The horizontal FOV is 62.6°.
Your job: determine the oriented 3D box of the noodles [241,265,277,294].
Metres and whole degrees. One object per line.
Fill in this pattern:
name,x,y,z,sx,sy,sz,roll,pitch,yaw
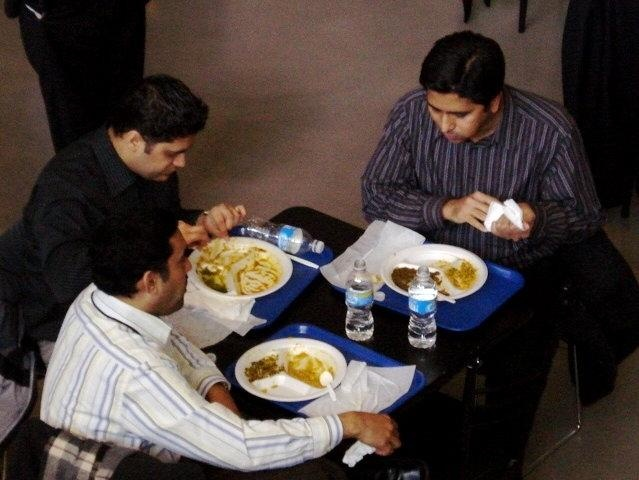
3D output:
noodles,-0.256,0.159,2.159,0.104,0.036,0.108,-9,33,-9

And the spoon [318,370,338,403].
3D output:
spoon,0.033,0.479,1.727,0.031,0.017,0.102,-11,35,-1
